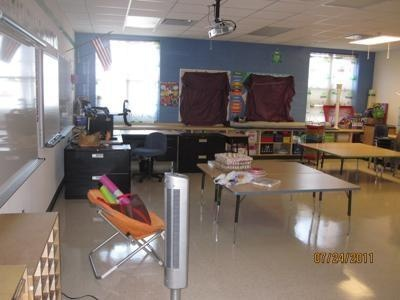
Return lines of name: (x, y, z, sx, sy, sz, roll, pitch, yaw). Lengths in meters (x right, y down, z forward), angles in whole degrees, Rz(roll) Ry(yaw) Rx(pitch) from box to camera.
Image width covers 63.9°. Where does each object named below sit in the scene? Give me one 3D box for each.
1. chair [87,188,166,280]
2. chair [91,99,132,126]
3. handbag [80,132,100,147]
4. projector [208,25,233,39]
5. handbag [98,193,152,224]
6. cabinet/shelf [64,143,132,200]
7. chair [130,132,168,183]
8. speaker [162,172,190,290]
chair: (-0.854, 0.924, 3.846, 0.885, 0.881, 0.743, -1, 7, -25)
chair: (-2.168, -0.854, 8.095, 0.706, 0.737, 2.495, 0, 12, -8)
handbag: (-2.072, -0.179, 6.026, 0.403, 0.306, 0.229, -1, 2, -14)
projector: (0.414, -2.085, 5.683, 0.296, 0.095, 0.302, 4, 11, 31)
handbag: (-0.732, 0.705, 3.503, 0.385, 0.151, 0.318, 26, -32, -37)
cabinet/shelf: (-1.928, 0.365, 6.224, 0.991, 0.783, 1.024, 1, 4, -7)
chair: (-1.173, 0.152, 7.487, 0.735, 1.106, 0.735, 9, 7, 37)
speaker: (-0.130, 0.459, 1.783, 0.128, 0.650, 0.093, 1, 12, -5)
